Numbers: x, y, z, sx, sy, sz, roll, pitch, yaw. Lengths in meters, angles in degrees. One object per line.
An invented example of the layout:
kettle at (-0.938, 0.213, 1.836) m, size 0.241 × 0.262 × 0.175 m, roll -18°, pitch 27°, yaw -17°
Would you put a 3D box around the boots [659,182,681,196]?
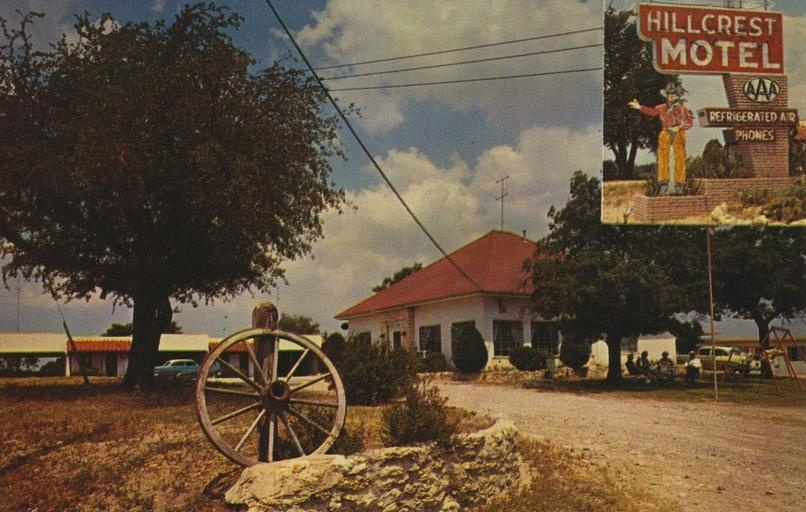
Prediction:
boots at (10.933, -2.825, 37.431) m, size 0.479 × 0.629 × 0.679 m, roll -6°, pitch -4°, yaw 9°
